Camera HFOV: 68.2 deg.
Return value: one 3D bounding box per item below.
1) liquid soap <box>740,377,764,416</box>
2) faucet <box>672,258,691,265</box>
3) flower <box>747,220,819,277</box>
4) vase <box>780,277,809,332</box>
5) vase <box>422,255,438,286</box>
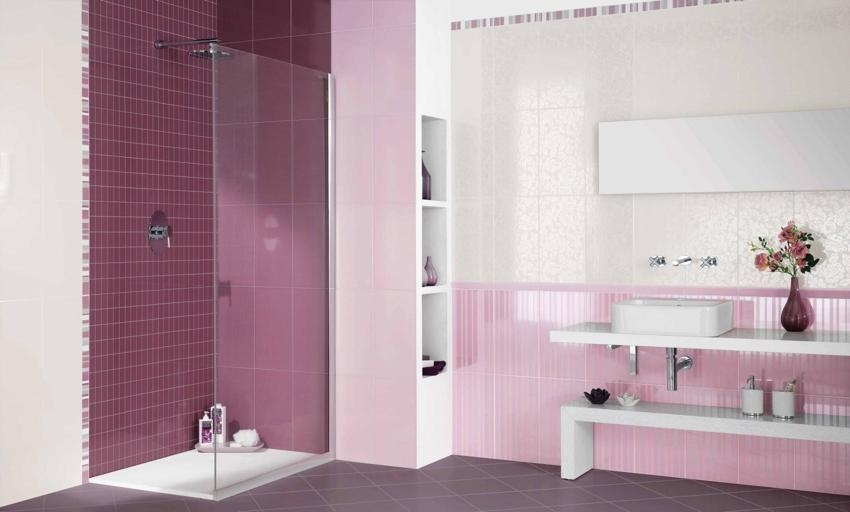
[{"bbox_3d":[2.315,0.976,4.468,0.136,0.270,0.199,-1,1,27],"label":"liquid soap"},{"bbox_3d":[1.914,0.041,4.723,0.134,0.063,0.049,-1,1,22],"label":"faucet"},{"bbox_3d":[2.525,-0.055,4.481,0.442,0.393,0.422,4,0,24],"label":"flower"},{"bbox_3d":[2.621,0.336,4.433,0.255,0.379,0.137,-1,1,-25],"label":"vase"},{"bbox_3d":[0.031,0.118,5.116,0.110,0.241,0.208,-1,1,8],"label":"vase"}]
